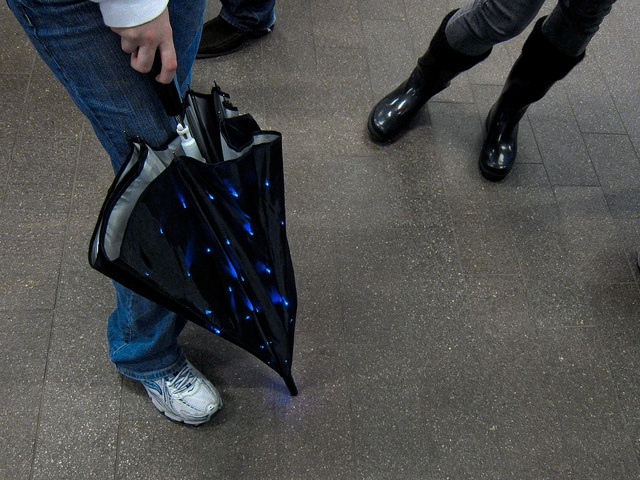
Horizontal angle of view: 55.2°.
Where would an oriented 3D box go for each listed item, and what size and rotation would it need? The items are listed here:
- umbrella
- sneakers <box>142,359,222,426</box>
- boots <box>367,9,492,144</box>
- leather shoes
[{"bbox_3d":[-0.342,-0.045,1.626,0.427,0.186,0.800,-28,107,-33],"label":"umbrella"},{"bbox_3d":[-0.444,0.481,1.946,0.278,0.110,0.146,42,60,6],"label":"sneakers"},{"bbox_3d":[0.444,-0.630,2.447,0.470,0.326,0.174,-42,92,10],"label":"boots"},{"bbox_3d":[-0.354,-0.858,2.598,0.336,0.145,0.146,-25,89,-9],"label":"leather shoes"}]
